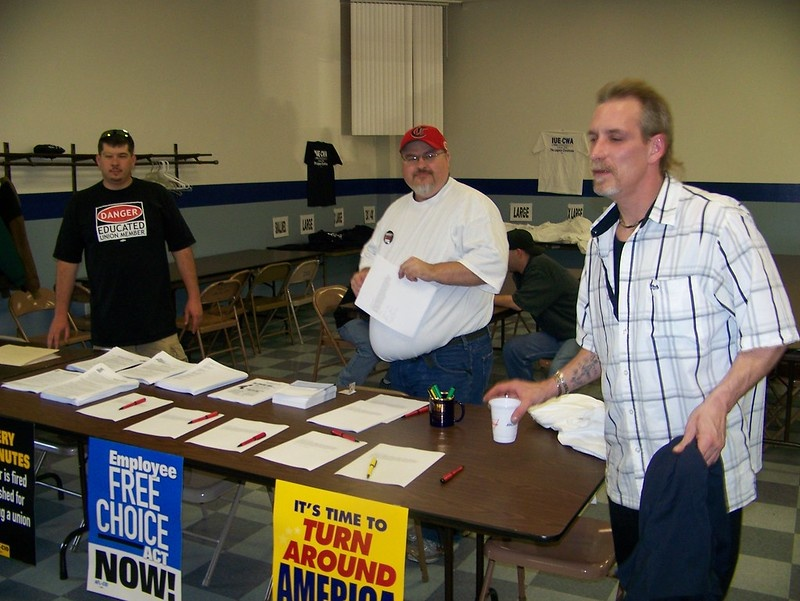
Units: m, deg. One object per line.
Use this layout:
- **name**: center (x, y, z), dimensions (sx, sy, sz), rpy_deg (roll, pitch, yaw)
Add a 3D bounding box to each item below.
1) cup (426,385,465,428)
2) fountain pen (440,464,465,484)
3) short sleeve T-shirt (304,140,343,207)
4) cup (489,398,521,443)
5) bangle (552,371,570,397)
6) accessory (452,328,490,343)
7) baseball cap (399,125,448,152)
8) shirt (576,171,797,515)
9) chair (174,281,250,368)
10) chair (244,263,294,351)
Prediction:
- **cup**: center (0.190, 0.415, 2.633), dimensions (0.108, 0.144, 0.171), rpy_deg (14, 32, 30)
- **fountain pen**: center (0.180, 0.597, 2.177), dimensions (0.028, 0.028, 0.147), rpy_deg (-3, 8, 27)
- **short sleeve T-shirt**: center (-1.141, -1.854, 9.275), dimensions (0.128, 0.930, 0.575), rpy_deg (11, 16, 42)
- **cup**: center (0.383, 0.439, 2.424), dimensions (0.161, 0.172, 0.152), rpy_deg (-1, 4, 0)
- **bangle**: center (0.568, 0.295, 2.268), dimensions (0.039, 0.079, 0.060), rpy_deg (-10, 3, 0)
- **accessory**: center (0.359, 0.172, 3.124), dimensions (0.102, 0.024, 0.097), rpy_deg (-17, 6, -33)
- **baseball cap**: center (0.116, -0.815, 3.156), dimensions (0.215, 0.123, 0.238), rpy_deg (0, 12, 1)
- **shirt**: center (0.836, 0.141, 1.948), dimensions (0.619, 1.021, 0.339), rpy_deg (6, 13, 27)
- **chair**: center (-1.718, 0.255, 6.081), dimensions (0.520, 0.766, 0.622), rpy_deg (0, 14, 13)
- **chair**: center (-1.551, 0.012, 7.073), dimensions (0.665, 0.934, 0.524), rpy_deg (10, 15, 43)
